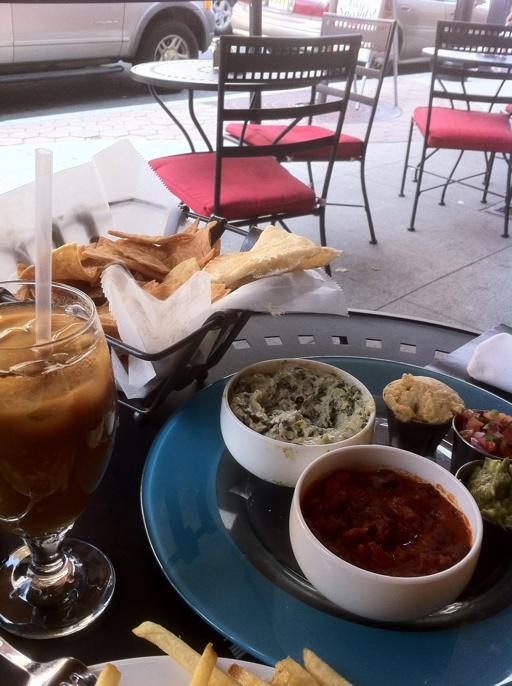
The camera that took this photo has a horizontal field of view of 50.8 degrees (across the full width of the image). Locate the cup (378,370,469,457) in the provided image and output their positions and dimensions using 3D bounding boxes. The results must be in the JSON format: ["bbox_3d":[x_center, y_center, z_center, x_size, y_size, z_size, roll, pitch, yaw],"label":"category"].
[{"bbox_3d":[0.192,0.072,0.670,0.109,0.089,0.105,1,17,0],"label":"cup"}]

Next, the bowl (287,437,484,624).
[{"bbox_3d":[0.103,0.152,0.450,0.145,0.061,0.159,4,28,-2],"label":"bowl"}]

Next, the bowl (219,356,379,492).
[{"bbox_3d":[0.045,0.049,0.626,0.218,0.114,0.184,-12,21,-30],"label":"bowl"}]
